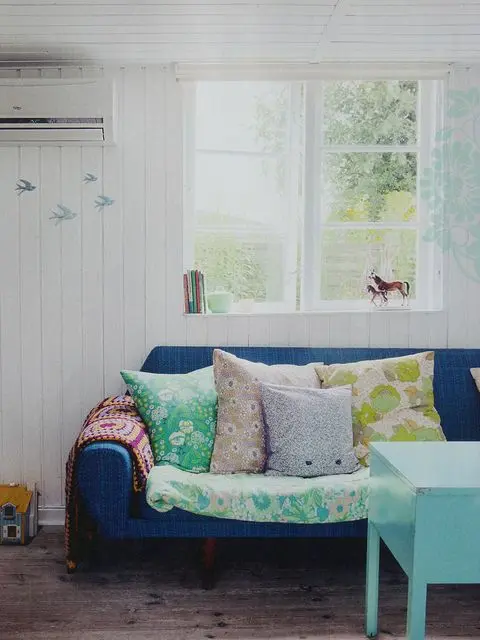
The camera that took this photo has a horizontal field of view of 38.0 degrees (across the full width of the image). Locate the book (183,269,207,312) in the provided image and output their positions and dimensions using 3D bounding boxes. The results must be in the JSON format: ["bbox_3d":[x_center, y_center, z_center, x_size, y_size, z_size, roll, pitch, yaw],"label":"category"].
[{"bbox_3d":[-0.218,-0.133,3.368,0.106,0.206,0.120,0,7,-2],"label":"book"}]

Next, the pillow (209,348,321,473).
[{"bbox_3d":[0.095,0.380,2.770,0.475,0.397,0.164,2,-23,-17],"label":"pillow"}]

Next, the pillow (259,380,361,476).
[{"bbox_3d":[0.266,0.435,2.703,0.356,0.308,0.118,2,-21,-10],"label":"pillow"}]
